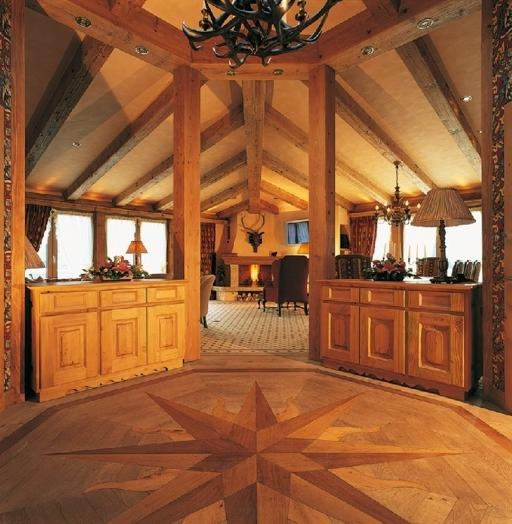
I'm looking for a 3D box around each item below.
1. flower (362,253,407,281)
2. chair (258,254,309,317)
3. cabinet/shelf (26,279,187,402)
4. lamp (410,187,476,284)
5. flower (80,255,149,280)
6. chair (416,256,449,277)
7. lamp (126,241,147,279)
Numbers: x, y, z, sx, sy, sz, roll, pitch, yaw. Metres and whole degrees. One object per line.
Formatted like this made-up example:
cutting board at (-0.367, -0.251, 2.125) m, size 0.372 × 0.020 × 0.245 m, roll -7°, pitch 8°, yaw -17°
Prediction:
flower at (1.164, 0.049, 3.748) m, size 0.263 × 0.189 × 0.255 m, roll -2°, pitch -4°, yaw 37°
chair at (0.538, 0.396, 7.682) m, size 0.770 × 0.971 × 0.821 m, roll 2°, pitch -3°, yaw -28°
cabinet/shelf at (-1.210, 0.630, 3.344) m, size 0.285 × 0.546 × 0.898 m, roll 1°, pitch 1°, yaw 44°
lamp at (1.491, -0.235, 3.411) m, size 0.434 × 0.727 × 0.463 m, roll 1°, pitch 5°, yaw 16°
flower at (-1.272, 0.056, 3.907) m, size 0.611 × 0.243 × 0.471 m, roll -3°, pitch 5°, yaw -27°
chair at (1.903, 0.049, 4.625) m, size 0.276 × 0.348 × 0.312 m, roll 4°, pitch 2°, yaw 23°
lamp at (-2.051, -0.082, 7.339) m, size 0.383 × 0.599 × 0.363 m, roll 0°, pitch 4°, yaw 23°
